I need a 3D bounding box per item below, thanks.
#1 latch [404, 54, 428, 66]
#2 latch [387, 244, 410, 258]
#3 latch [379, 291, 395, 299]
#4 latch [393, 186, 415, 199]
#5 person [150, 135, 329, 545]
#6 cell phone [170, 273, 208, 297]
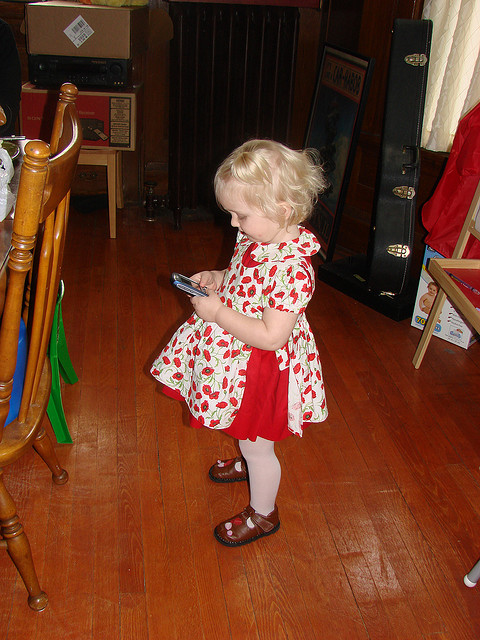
[{"bbox_3d":[0.709,-1.056,1.827,0.065,0.050,0.024,-2,33,14],"label":"latch"},{"bbox_3d":[0.730,-0.311,2.069,0.077,0.063,0.021,14,17,20],"label":"latch"},{"bbox_3d":[0.743,-0.128,2.282,0.093,0.044,0.025,-8,19,-31],"label":"latch"},{"bbox_3d":[0.719,-0.564,1.988,0.091,0.050,0.010,11,23,6],"label":"latch"},{"bbox_3d":[-0.002,0.066,0.980,0.266,0.861,0.272,0,24,-9],"label":"person"},{"bbox_3d":[-0.095,-0.060,0.853,0.066,0.018,0.044,29,30,-30],"label":"cell phone"}]
